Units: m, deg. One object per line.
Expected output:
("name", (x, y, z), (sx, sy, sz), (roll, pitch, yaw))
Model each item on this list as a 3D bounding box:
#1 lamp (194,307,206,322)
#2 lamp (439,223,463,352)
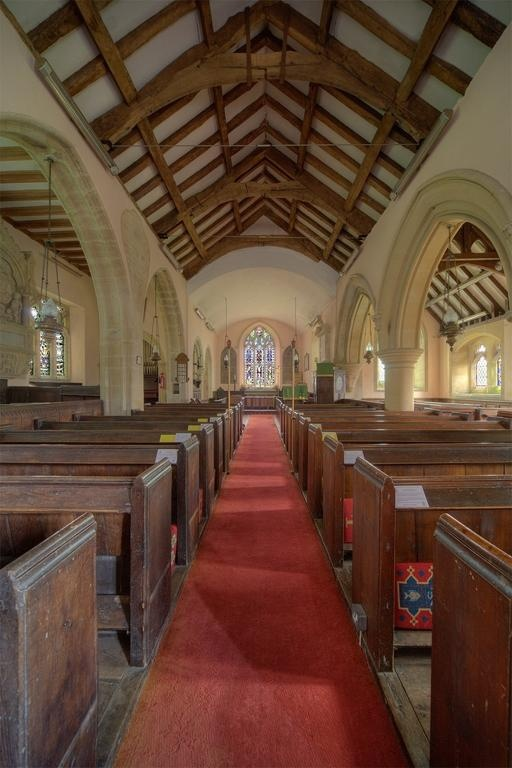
("lamp", (-1.453, -1.858, 12.850), (0.079, 0.042, 0.565), (-34, -16, 2))
("lamp", (2.431, -1.239, 6.167), (0.250, 1.636, 0.282), (0, -3, 2))
